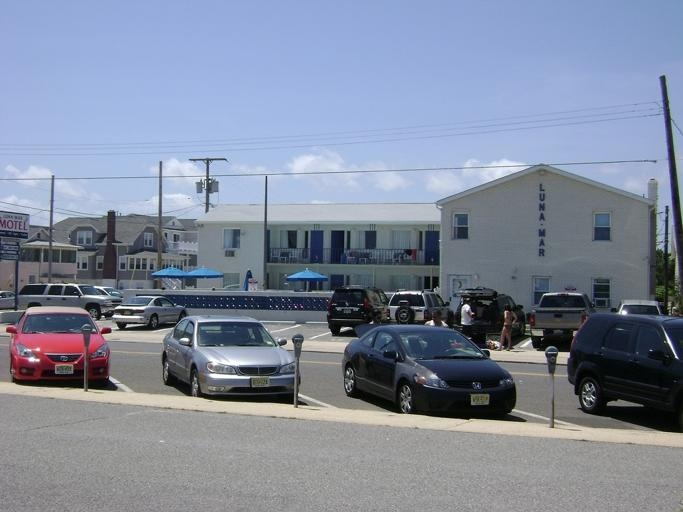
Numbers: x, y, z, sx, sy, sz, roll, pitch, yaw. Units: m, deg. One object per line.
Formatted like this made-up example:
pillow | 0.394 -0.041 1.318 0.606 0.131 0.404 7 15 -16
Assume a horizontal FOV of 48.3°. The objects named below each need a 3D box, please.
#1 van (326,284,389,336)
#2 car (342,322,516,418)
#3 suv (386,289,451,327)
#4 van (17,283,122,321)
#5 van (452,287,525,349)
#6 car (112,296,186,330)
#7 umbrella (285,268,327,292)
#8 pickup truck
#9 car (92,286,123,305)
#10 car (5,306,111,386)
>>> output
van | 0.859 1.942 31.900 1.366 1.271 2.812 -1 5 18
car | 1.637 2.260 15.207 1.752 1.267 3.490 1 1 -35
suv | 3.226 2.031 31.462 1.303 1.109 2.414 1 5 28
van | -13.676 2.506 37.330 4.789 1.887 2.351 0 4 -3
van | 5.534 2.063 28.697 1.501 1.735 3.639 1 4 21
car | -8.579 2.472 34.142 1.372 1.369 2.871 2 1 29
umbrella | -1.644 1.137 42.948 1.820 1.011 1.879 0 -1 -26
pickup truck | 7.468 2.122 26.414 1.403 1.229 2.747 -1 5 13
car | -12.776 2.132 41.558 2.415 0.972 1.145 -2 0 32
car | -6.317 2.064 17.066 1.931 1.599 2.464 1 1 -37
